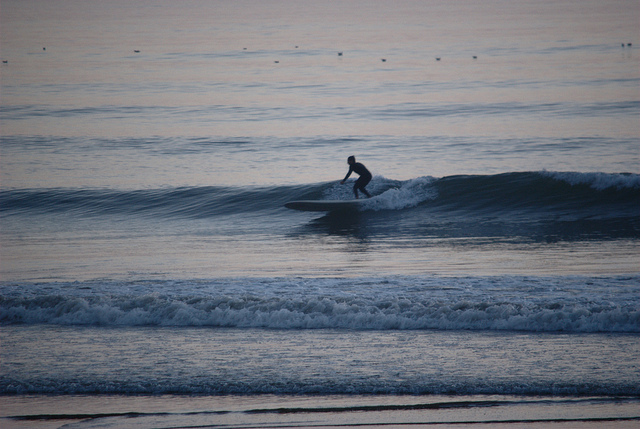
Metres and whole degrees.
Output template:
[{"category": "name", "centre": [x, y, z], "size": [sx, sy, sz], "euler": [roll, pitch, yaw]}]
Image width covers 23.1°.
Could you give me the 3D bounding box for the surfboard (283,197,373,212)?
[{"category": "surfboard", "centre": [0.499, -0.678, 136.268], "size": [6.815, 0.895, 0.995], "euler": [-1, -62, 1]}]
